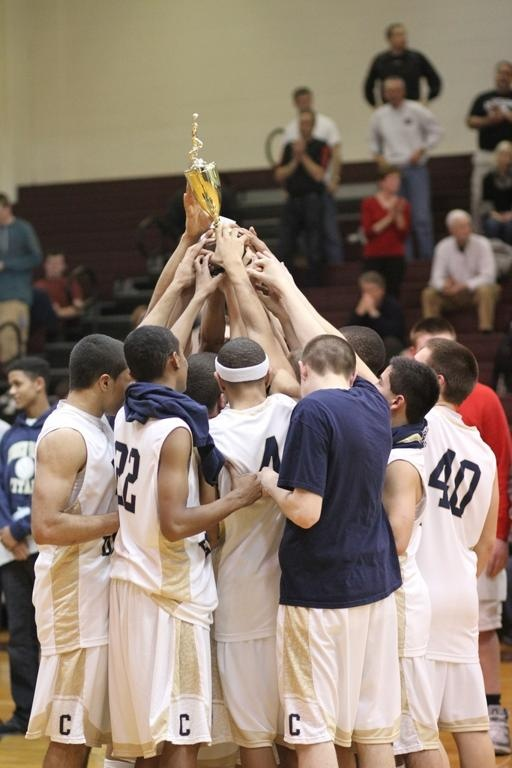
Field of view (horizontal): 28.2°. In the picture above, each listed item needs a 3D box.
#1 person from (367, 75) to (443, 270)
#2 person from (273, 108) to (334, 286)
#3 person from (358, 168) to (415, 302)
[{"bbox_3d":[1.164,-1.798,8.011,0.337,1.753,0.317,5,15,32],"label":"person"},{"bbox_3d":[0.390,-1.564,8.519,0.324,1.594,0.283,4,15,20],"label":"person"},{"bbox_3d":[1.025,-1.069,8.196,0.347,1.288,0.365,2,17,2],"label":"person"}]
